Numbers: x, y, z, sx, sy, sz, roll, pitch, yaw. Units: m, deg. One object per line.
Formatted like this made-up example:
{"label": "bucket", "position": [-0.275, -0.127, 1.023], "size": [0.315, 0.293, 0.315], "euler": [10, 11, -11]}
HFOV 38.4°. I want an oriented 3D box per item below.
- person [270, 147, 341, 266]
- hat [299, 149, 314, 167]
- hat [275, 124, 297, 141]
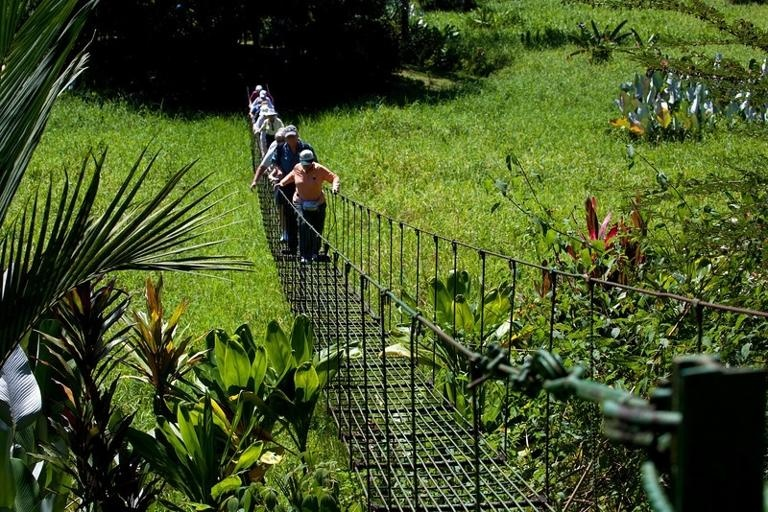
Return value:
{"label": "person", "position": [-0.863, -0.539, 12.677], "size": [0.672, 1.315, 1.912], "euler": [-1, 13, -6]}
{"label": "hat", "position": [-0.895, -1.136, 12.719], "size": [0.166, 0.177, 0.287], "euler": [-1, 14, -3]}
{"label": "hat", "position": [-1.262, -1.566, 13.998], "size": [0.305, 0.148, 0.467], "euler": [-14, 10, -3]}
